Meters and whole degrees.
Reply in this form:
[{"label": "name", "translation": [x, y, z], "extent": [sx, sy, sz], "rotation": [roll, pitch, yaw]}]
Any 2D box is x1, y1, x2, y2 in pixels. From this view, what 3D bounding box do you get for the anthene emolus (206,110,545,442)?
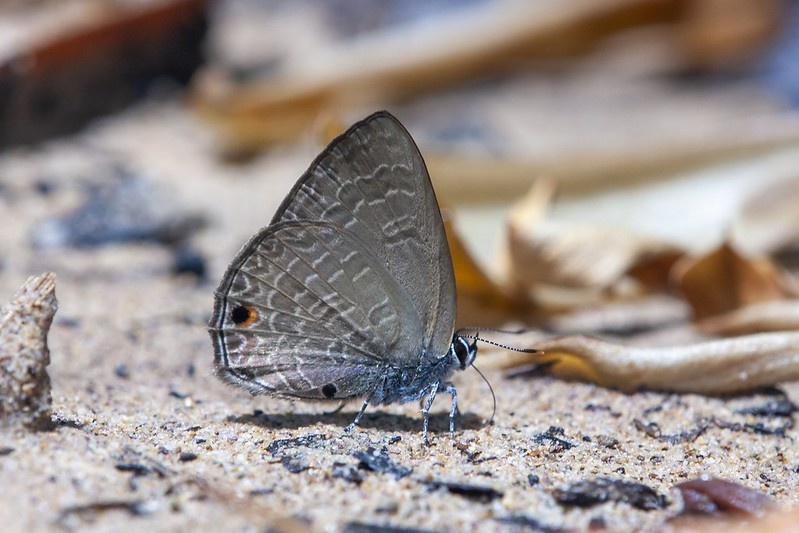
[{"label": "anthene emolus", "translation": [-0.133, 0.158, 5.720], "extent": [1.987, 1.910, 1.728], "rotation": [2, 88, -11]}]
